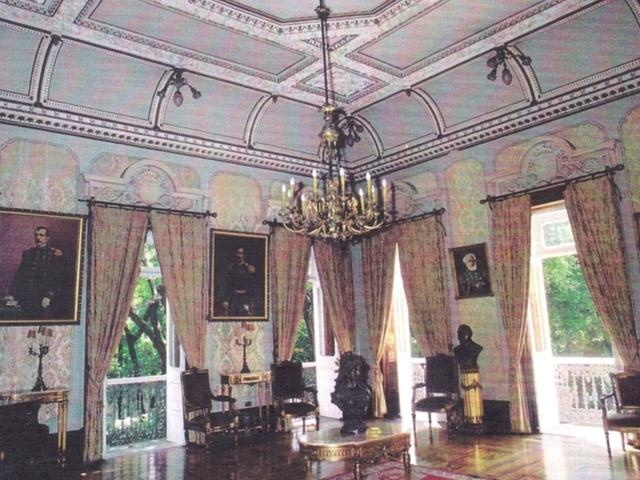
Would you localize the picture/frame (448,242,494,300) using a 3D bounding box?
[{"bbox_3d":[2.577,0.533,10.457,0.821,1.048,0.078,-13,-12,43],"label":"picture/frame"}]

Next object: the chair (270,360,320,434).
[{"bbox_3d":[-0.462,2.713,10.730,0.746,1.177,1.334,-3,-18,-5],"label":"chair"}]

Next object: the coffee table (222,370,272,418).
[{"bbox_3d":[-1.278,2.618,10.464,0.726,0.686,0.323,11,-21,-38],"label":"coffee table"}]

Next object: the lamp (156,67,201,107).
[{"bbox_3d":[-2.306,-2.474,10.039,0.643,0.533,0.578,-1,5,-13],"label":"lamp"}]

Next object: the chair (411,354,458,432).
[{"bbox_3d":[1.863,2.397,10.098,0.799,1.061,0.604,-8,-18,11],"label":"chair"}]

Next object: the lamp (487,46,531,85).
[{"bbox_3d":[2.859,-2.761,9.631,0.602,0.681,0.250,-1,2,5],"label":"lamp"}]

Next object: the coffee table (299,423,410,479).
[{"bbox_3d":[0.442,2.713,7.892,1.406,0.705,1.047,-5,-18,1],"label":"coffee table"}]
